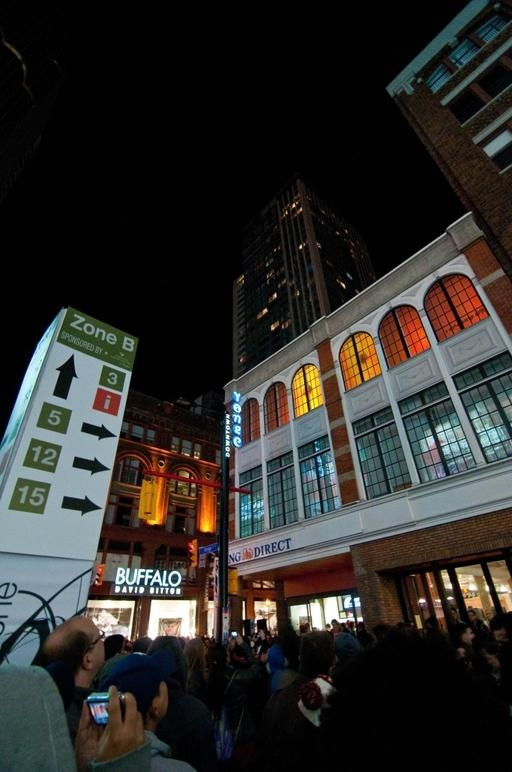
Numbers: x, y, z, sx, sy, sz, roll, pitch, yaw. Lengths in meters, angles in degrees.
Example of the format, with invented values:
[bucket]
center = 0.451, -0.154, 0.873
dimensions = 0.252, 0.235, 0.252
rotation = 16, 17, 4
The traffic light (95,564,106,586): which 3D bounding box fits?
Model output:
[traffic light]
center = -10.954, 13.363, 27.396
dimensions = 0.592, 1.255, 4.241
rotation = 7, -30, -18
